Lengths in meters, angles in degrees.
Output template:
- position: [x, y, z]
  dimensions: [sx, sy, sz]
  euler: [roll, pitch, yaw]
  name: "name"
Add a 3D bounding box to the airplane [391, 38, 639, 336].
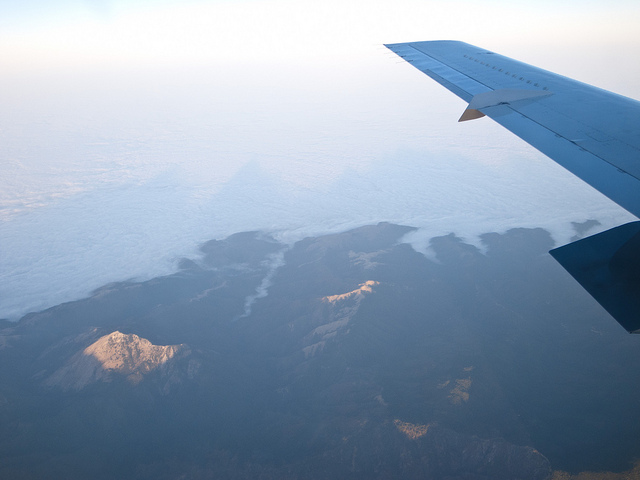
- position: [7.917, -2.107, 17.152]
  dimensions: [4.573, 8.696, 8.269]
  euler: [-13, 25, -28]
  name: "airplane"
